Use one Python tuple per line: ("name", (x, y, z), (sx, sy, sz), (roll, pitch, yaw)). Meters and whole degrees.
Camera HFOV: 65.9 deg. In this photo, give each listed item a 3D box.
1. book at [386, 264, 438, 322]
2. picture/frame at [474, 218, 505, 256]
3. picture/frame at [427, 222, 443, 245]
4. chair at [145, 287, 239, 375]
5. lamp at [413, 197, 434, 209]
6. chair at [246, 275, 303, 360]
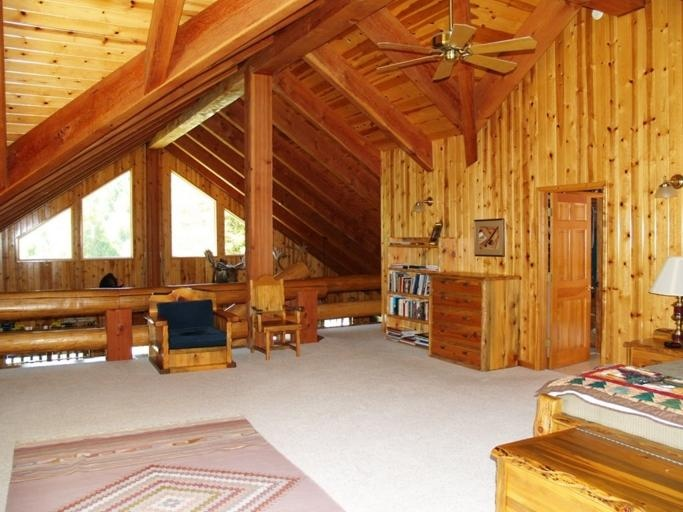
("book", (1.047, 0.536, 7.715), (0.335, 0.751, 0.972), (3, -2, -30))
("picture/frame", (1.905, -0.243, 6.868), (0.478, 0.470, 0.051), (2, 1, -13))
("picture/frame", (1.333, -0.335, 7.696), (0.154, 0.347, 0.265), (-3, 6, -26))
("chair", (-1.875, 0.888, 6.484), (0.991, 0.826, 0.936), (-1, 6, -34))
("lamp", (1.206, -0.790, 7.778), (0.276, 0.181, 0.155), (4, 4, -12))
("chair", (-0.927, 0.803, 7.214), (0.713, 1.082, 1.220), (-1, 5, -5))
